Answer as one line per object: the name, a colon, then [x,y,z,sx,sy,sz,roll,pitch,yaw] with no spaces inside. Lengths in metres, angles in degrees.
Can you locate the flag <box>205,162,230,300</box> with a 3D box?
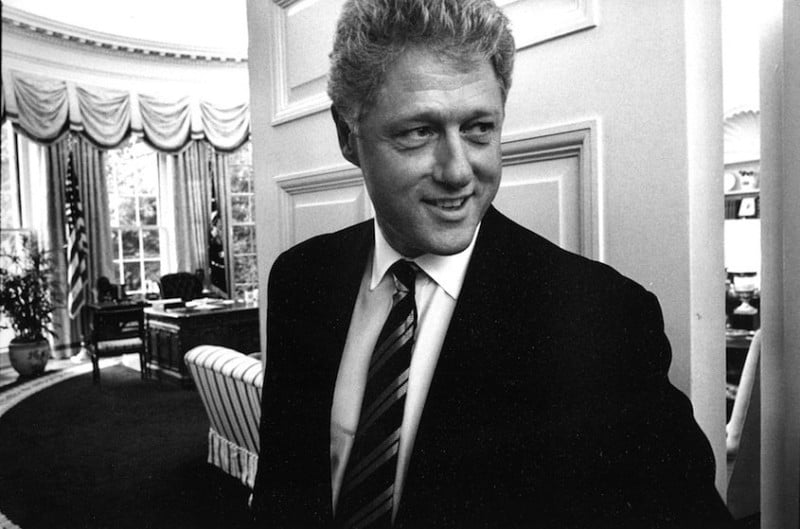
flag: [-2.329,-0.413,8.021,0.116,1.667,0.283,-6,-12,1]
